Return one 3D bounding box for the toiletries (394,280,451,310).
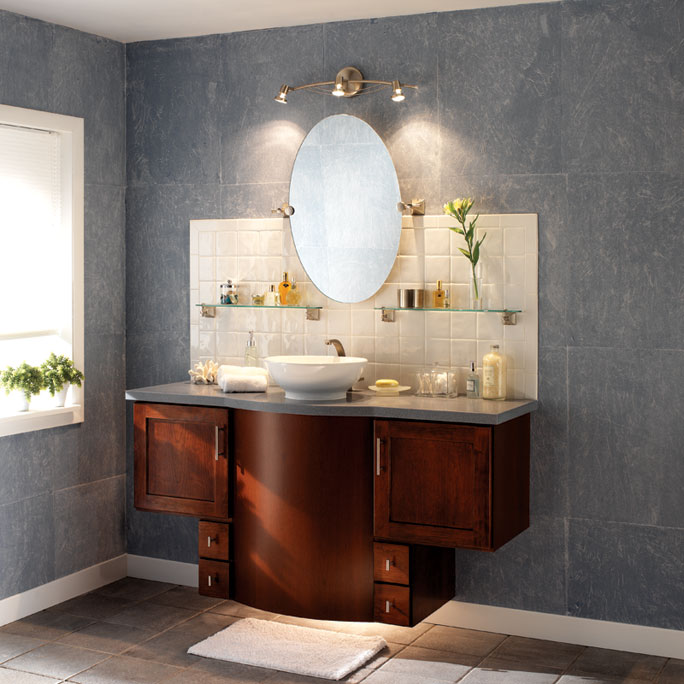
[{"bbox_3d":[0.354,-0.213,3.200,0.191,0.144,0.116,3,3,23],"label":"toiletries"}]

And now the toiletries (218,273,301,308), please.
[{"bbox_3d":[-0.442,-0.266,3.673,0.514,0.232,0.162,3,3,21],"label":"toiletries"}]

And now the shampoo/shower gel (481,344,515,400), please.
[{"bbox_3d":[0.648,0.134,3.074,0.111,0.249,0.122,-1,-2,22],"label":"shampoo/shower gel"}]

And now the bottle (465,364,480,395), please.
[{"bbox_3d":[0.560,0.161,3.126,0.060,0.145,0.086,0,0,10],"label":"bottle"}]

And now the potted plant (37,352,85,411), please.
[{"bbox_3d":[-1.325,0.197,3.478,0.202,0.270,0.209,-1,3,9],"label":"potted plant"}]

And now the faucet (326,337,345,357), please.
[{"bbox_3d":[-0.033,0.024,3.317,0.083,0.139,0.061,-6,5,-44],"label":"faucet"}]

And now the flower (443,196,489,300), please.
[{"bbox_3d":[0.527,-0.404,3.104,0.174,0.458,0.142,0,-1,10],"label":"flower"}]

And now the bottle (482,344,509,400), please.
[{"bbox_3d":[0.646,0.124,3.060,0.105,0.239,0.095,-9,12,-29],"label":"bottle"}]

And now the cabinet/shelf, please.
[{"bbox_3d":[-0.089,0.677,3.063,1.652,0.887,0.482,0,0,25],"label":"cabinet/shelf"}]

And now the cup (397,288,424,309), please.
[{"bbox_3d":[0.296,-0.190,3.192,0.078,0.070,0.087,0,0,8],"label":"cup"}]

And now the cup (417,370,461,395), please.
[{"bbox_3d":[0.415,0.175,3.126,0.168,0.118,0.081,0,0,5],"label":"cup"}]
